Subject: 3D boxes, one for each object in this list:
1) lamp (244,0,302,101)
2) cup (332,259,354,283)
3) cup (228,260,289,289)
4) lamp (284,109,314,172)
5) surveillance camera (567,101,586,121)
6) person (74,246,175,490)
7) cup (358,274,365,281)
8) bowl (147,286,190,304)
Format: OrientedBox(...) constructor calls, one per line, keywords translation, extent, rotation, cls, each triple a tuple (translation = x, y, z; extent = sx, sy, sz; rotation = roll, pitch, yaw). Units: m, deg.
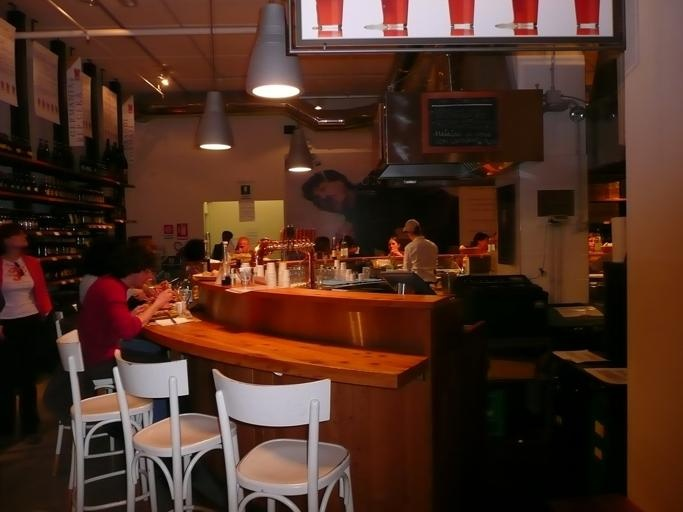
OrientedBox(translation=(-0.504, -1.535, 4.568), extent=(0.412, 0.628, 0.419), rotation=(-1, -1, 15), cls="lamp")
OrientedBox(translation=(0.029, 0.195, 7.307), extent=(0.279, 0.298, 0.175), rotation=(1, 1, 24), cls="cup")
OrientedBox(translation=(-0.645, 0.167, 5.091), extent=(0.258, 0.128, 0.352), rotation=(0, 2, -36), cls="cup")
OrientedBox(translation=(-0.567, -1.464, 8.259), extent=(0.325, 0.620, 0.366), rotation=(-1, -1, -1), cls="lamp")
OrientedBox(translation=(2.479, -1.525, 6.574), extent=(0.164, 0.123, 0.170), rotation=(6, -14, -15), cls="surveillance camera")
OrientedBox(translation=(-1.777, 0.580, 4.962), extent=(0.556, 1.371, 0.680), rotation=(13, 14, 22), cls="person")
OrientedBox(translation=(0.240, 0.254, 7.394), extent=(0.067, 0.076, 0.068), rotation=(0, 1, 0), cls="cup")
OrientedBox(translation=(-1.535, 0.347, 5.670), extent=(0.231, 0.096, 0.314), rotation=(0, -4, 33), cls="bowl")
